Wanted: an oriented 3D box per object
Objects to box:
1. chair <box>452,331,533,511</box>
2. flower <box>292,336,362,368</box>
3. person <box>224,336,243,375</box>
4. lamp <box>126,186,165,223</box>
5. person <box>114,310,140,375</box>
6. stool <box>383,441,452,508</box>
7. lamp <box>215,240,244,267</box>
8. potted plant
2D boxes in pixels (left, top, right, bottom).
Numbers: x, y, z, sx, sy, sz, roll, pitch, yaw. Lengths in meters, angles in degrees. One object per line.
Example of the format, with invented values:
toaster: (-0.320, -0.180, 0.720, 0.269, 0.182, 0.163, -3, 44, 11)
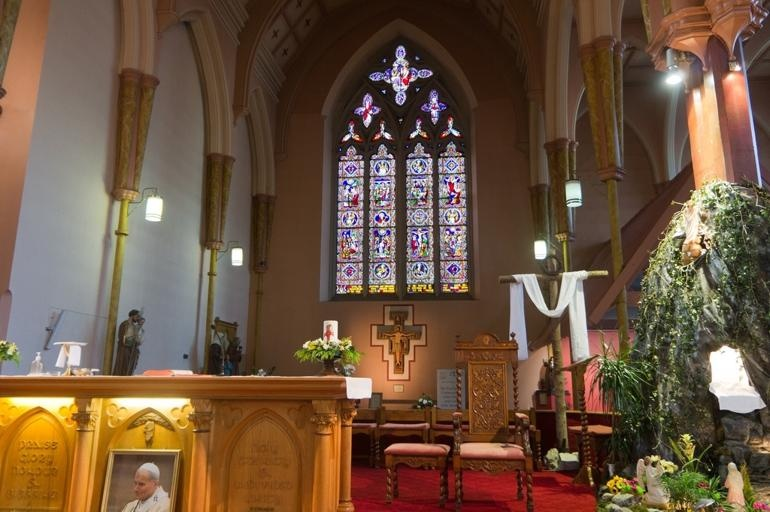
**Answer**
chair: (1.569, 2.445, 9.703, 1.025, 2.251, 3.430, -2, -16, 9)
flower: (-0.571, 1.116, 7.639, 0.671, 0.392, 0.725, -2, -10, 20)
person: (-3.072, 2.002, 13.074, 0.325, 0.885, 0.233, 6, 11, 24)
lamp: (-3.788, -0.826, 10.347, 0.505, 0.511, 0.204, 2, -17, -7)
person: (-3.837, 1.282, 9.900, 0.338, 1.178, 0.291, 7, 20, -17)
stool: (0.417, 2.840, 8.766, 0.754, 0.748, 0.829, 1, -13, 3)
lamp: (-3.121, -0.039, 13.308, 0.687, 0.715, 0.305, -2, -7, 5)
potted plant: (2.847, 1.719, 7.971, 0.573, 1.332, 0.687, -21, -7, 10)
